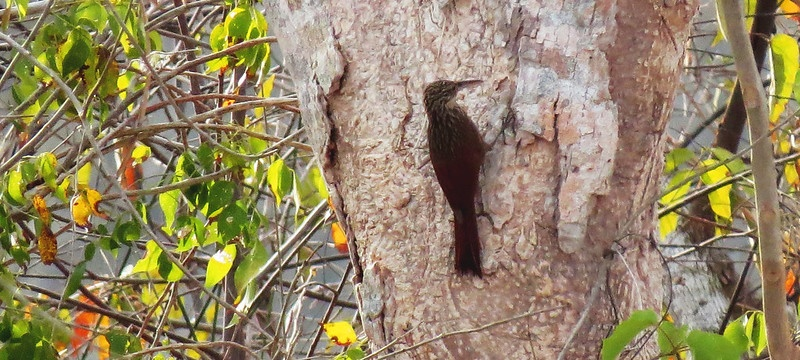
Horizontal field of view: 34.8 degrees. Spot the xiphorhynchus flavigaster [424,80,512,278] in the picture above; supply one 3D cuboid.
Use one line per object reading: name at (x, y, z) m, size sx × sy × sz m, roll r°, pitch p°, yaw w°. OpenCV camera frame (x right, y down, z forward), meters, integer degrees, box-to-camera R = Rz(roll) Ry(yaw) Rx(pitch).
xiphorhynchus flavigaster at (0.499, -0.016, 11.263) m, size 0.569 × 1.658 × 0.499 m, roll 1°, pitch 11°, yaw 0°
